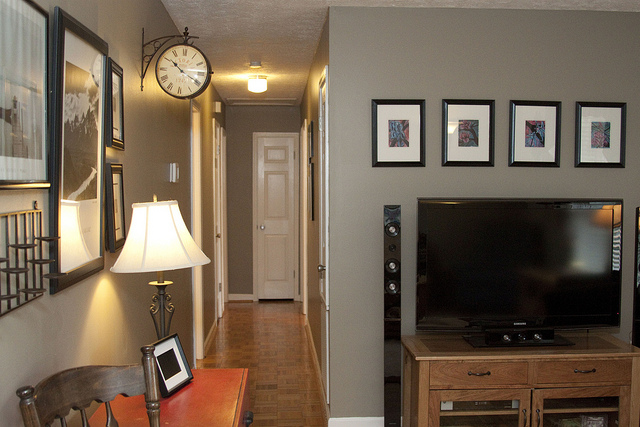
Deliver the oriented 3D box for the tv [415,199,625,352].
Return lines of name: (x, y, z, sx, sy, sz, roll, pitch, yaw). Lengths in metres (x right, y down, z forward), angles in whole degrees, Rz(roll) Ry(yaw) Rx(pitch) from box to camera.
tv: (1.420, 0.436, 3.756, 1.531, 1.071, 0.378, 0, 1, -2)

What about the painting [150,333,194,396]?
painting: (-0.818, 0.824, 2.812, 0.308, 0.255, 0.040, -33, -14, 35)

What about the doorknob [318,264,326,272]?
doorknob: (0.016, 0.424, 3.978, 0.066, 0.036, 0.026, 3, -5, -2)
